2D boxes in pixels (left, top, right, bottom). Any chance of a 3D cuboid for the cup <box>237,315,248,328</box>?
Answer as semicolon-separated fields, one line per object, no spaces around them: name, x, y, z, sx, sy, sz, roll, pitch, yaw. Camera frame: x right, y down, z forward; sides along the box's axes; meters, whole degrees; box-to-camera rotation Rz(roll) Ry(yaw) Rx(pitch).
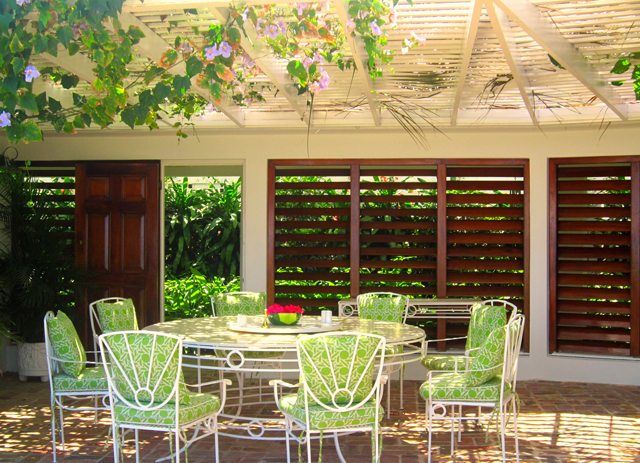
cup;-0.598;0.714;4.211;0.079;0.068;0.075;0;-4;0

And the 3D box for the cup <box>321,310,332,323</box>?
cup;0.089;0.707;4.440;0.110;0.108;0.103;0;1;0
